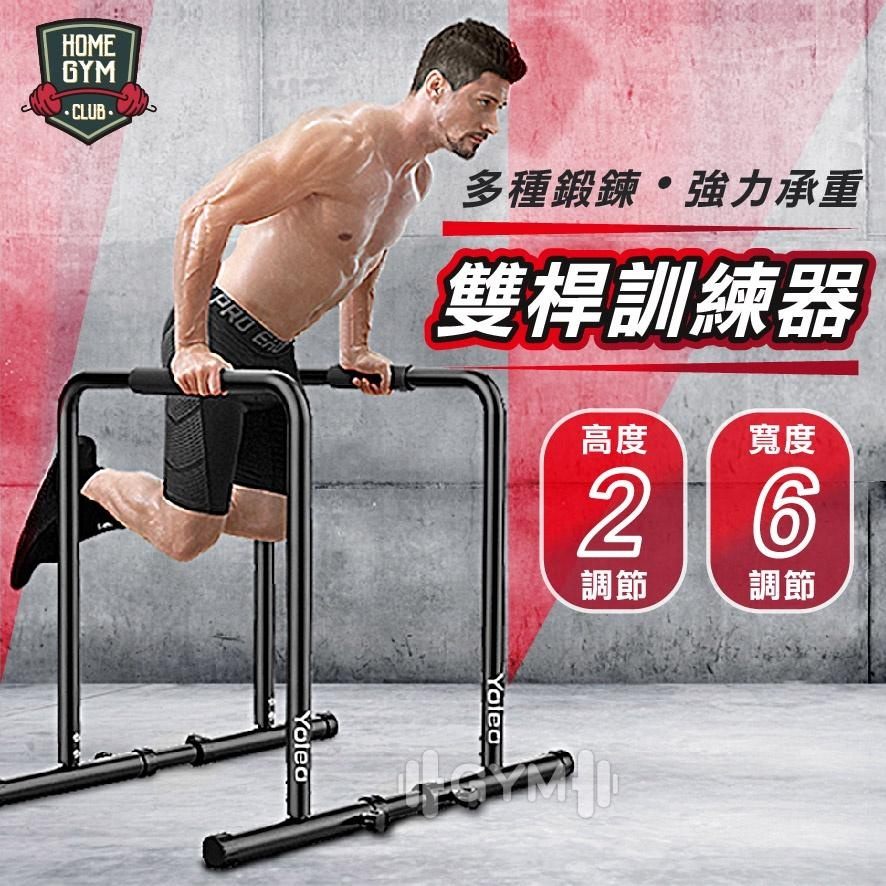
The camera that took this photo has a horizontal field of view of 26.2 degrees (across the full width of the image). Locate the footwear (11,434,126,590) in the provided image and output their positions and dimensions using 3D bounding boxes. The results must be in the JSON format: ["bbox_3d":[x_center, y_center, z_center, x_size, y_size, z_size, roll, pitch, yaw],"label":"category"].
[{"bbox_3d":[-1.029,0.189,5.152,0.147,0.445,0.191,36,8,-24],"label":"footwear"}]

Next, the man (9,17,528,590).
[{"bbox_3d":[-0.468,-0.292,4.783,1.223,1.560,0.774,7,8,7],"label":"man"}]

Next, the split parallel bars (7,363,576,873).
[{"bbox_3d":[-0.353,0.392,4.876,1.208,1.168,1.336,-1,0,38],"label":"split parallel bars"}]
